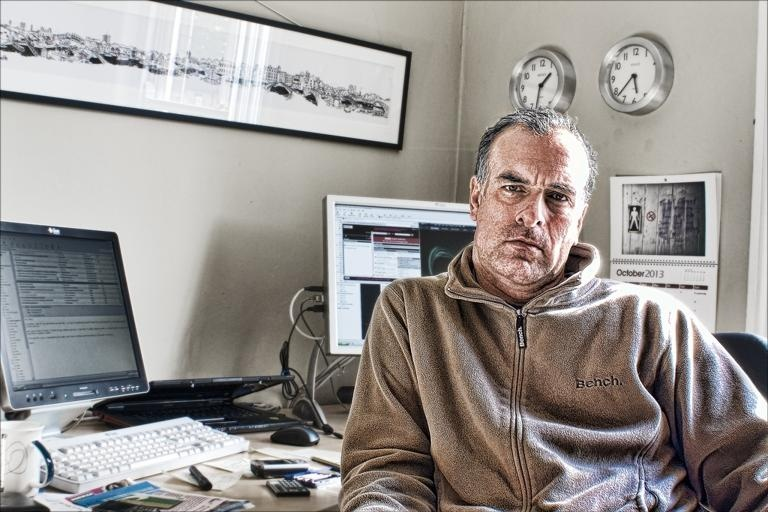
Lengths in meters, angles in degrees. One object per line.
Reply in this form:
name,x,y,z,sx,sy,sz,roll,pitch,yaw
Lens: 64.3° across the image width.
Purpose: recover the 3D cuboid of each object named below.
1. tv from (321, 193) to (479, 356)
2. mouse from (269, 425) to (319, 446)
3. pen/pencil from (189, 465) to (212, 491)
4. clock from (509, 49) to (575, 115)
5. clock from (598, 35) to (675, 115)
tv,0.080,0.074,2.159,0.698,0.557,0.058,4,6,41
mouse,-0.276,0.538,1.855,0.116,0.034,0.066,3,-7,10
pen/pencil,-0.473,0.564,1.565,0.027,0.027,0.103,44,-15,-28
clock,0.618,-0.670,2.398,0.076,0.260,0.275,-7,14,-31
clock,0.873,-0.625,2.123,0.050,0.263,0.249,-1,5,-39
